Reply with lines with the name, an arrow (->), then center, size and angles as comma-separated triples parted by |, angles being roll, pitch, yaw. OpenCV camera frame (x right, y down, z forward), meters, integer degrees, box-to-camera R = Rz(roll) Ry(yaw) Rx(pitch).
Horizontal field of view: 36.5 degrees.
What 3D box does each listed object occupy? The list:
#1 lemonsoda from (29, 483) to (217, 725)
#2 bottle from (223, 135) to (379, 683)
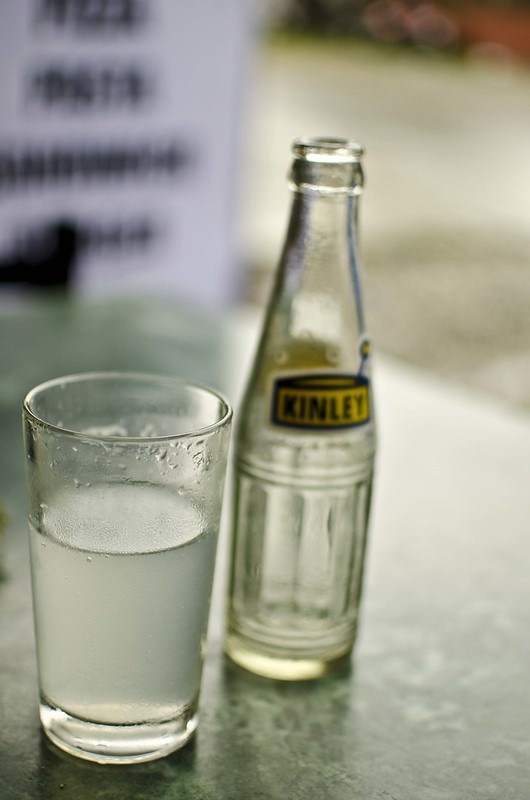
lemonsoda -> -0.049, 0.082, 0.315 | 0.077, 0.077, 0.076 | 5, 9, 36
bottle -> 0.020, 0.007, 0.368 | 0.066, 0.243, 0.069 | 4, 13, -1
